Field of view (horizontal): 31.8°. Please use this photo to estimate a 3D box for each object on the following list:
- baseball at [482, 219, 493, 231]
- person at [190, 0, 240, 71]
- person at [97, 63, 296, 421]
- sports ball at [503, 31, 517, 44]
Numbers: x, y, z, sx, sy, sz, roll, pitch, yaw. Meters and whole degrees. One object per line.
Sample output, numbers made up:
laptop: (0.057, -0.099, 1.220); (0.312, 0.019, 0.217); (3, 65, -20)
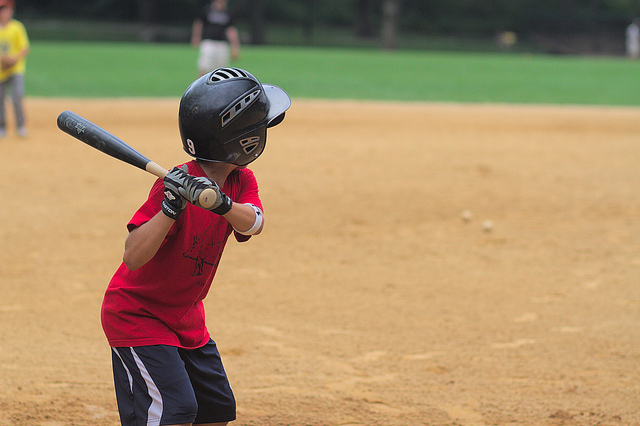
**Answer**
baseball: (1.834, 0.134, 12.266); (0.104, 0.075, 0.111); (0, -11, -5)
person: (-1.614, -2.789, 17.627); (0.717, 1.111, 0.988); (3, 9, -4)
person: (-1.131, 0.278, 9.467); (1.335, 3.005, 0.622); (3, 9, -5)
sports ball: (2.971, -2.764, 17.604); (0.219, 0.197, 0.211); (3, 9, -1)
